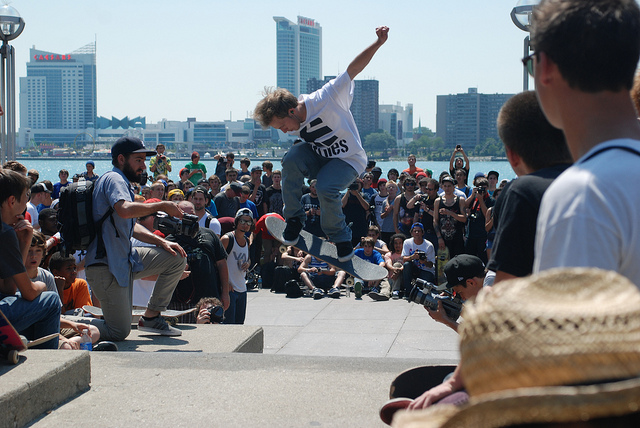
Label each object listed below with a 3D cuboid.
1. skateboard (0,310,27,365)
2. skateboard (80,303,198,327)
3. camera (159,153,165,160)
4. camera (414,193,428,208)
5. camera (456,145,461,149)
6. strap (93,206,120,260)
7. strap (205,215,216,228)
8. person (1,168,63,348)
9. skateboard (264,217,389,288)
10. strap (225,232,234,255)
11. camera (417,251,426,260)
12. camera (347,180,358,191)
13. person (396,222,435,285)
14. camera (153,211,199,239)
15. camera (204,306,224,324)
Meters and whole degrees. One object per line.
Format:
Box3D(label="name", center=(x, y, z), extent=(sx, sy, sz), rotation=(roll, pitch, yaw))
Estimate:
Box3D(label="skateboard", center=(-2.122, 0.846, 5.776), extent=(0.165, 0.366, 0.089), rotation=(-4, 8, -25))
Box3D(label="skateboard", center=(-1.752, 0.970, 8.018), extent=(1.046, 0.178, 0.311), rotation=(3, 6, 0))
Box3D(label="camera", center=(-2.935, -1.076, 15.517), extent=(0.090, 0.077, 0.243), rotation=(-7, -5, -1))
Box3D(label="camera", center=(1.549, -0.229, 12.927), extent=(0.130, 0.093, 0.342), rotation=(-3, 41, 54))
Box3D(label="camera", center=(2.455, -1.187, 14.695), extent=(0.055, 0.055, 0.102), rotation=(6, 4, 11))
Box3D(label="strap", center=(-1.845, 0.166, 7.318), extent=(0.185, 0.443, 0.172), rotation=(3, 0, 40))
Box3D(label="strap", center=(-1.438, 0.094, 10.958), extent=(0.093, 0.131, 0.128), rotation=(6, 2, 14))
Box3D(label="person", center=(-2.277, 0.383, 6.591), extent=(0.414, 1.509, 0.916), rotation=(-2, 8, -17))
Box3D(label="skateboard", center=(0.036, 0.556, 10.991), extent=(1.497, 0.252, 0.384), rotation=(31, 41, 2))
Box3D(label="strap", center=(-1.066, 0.345, 10.013), extent=(0.124, 0.174, 0.184), rotation=(3, 12, 2))
Box3D(label="camera", center=(1.481, 0.592, 12.065), extent=(0.097, 0.097, 0.096), rotation=(5, 4, -1))
Box3D(label="camera", center=(0.468, -0.405, 11.805), extent=(0.212, 0.099, 0.296), rotation=(-5, 4, -3))
Box3D(label="person", center=(1.391, 0.580, 11.934), extent=(0.503, 0.696, 1.199), rotation=(-1, 43, 11))
Box3D(label="camera", center=(-1.393, 0.092, 7.907), extent=(0.462, 0.248, 0.254), rotation=(9, -6, 5))
Box3D(label="camera", center=(-1.111, 1.056, 8.697), extent=(0.130, 0.199, 0.322), rotation=(3, 8, 18))
